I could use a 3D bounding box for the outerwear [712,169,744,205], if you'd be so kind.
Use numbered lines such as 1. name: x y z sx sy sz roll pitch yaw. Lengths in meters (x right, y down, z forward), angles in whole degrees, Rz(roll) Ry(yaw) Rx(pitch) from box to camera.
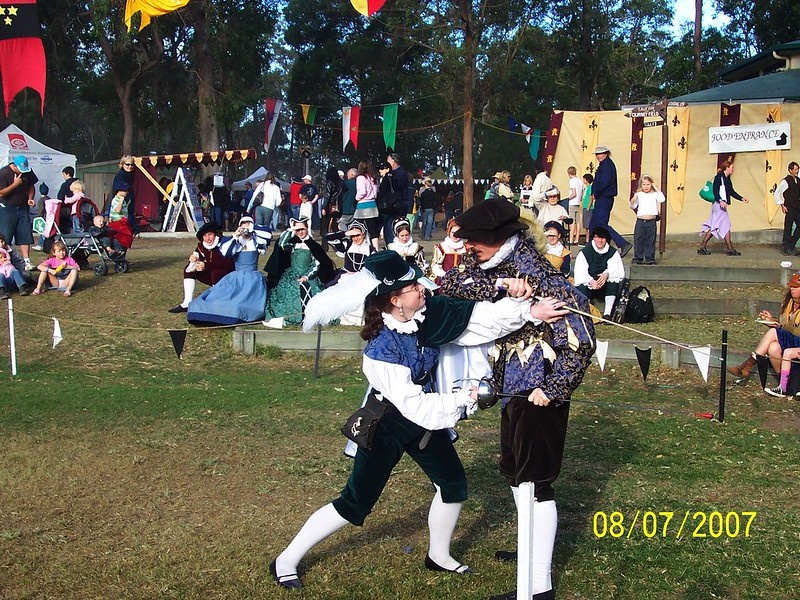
1. outerwear: 6.577 -2.309 19.222 0.674 0.856 0.656 -2 9 12

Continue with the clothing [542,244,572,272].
1. clothing: 2.111 -0.577 12.755 0.490 0.512 0.339 1 4 4

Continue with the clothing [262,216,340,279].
1. clothing: -1.701 -0.831 16.308 1.479 1.334 0.876 -4 -4 -10

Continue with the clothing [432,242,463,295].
1. clothing: 0.632 -0.490 15.210 0.713 0.805 0.533 -1 4 -7

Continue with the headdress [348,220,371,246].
1. headdress: -0.672 -1.133 15.706 0.287 0.431 0.424 -12 0 14

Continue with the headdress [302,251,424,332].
1. headdress: -0.339 -0.064 7.941 0.893 0.423 0.534 -30 21 -2

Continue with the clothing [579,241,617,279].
1. clothing: 3.140 -0.603 15.314 0.773 0.782 0.459 2 -3 5

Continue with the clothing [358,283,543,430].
1. clothing: 0.382 0.518 7.879 1.370 1.222 0.263 2 5 -3

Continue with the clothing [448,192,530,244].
1. clothing: 0.751 -0.663 7.861 0.419 0.171 0.438 6 31 30

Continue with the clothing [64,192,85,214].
1. clothing: -6.390 -1.922 18.477 0.287 0.373 0.125 -2 -1 -12

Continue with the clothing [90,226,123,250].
1. clothing: -5.534 -1.153 17.809 0.499 0.526 0.462 1 9 17

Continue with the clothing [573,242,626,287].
1. clothing: 3.244 -0.496 15.348 0.984 0.897 0.659 0 1 13

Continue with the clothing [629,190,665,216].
1. clothing: 4.490 -1.732 17.175 0.675 0.649 0.460 1 -8 12

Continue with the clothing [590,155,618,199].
1. clothing: 3.802 -2.220 17.425 0.598 0.961 1.015 0 6 11

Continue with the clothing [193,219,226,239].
1. clothing: -3.177 -1.231 15.838 0.352 0.136 0.407 -23 0 19

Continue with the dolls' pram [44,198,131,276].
1. dolls' pram: -5.836 -1.195 18.068 1.743 1.748 1.114 1 8 5

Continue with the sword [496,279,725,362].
1. sword: 2.545 0.273 11.060 2.084 0.314 0.100 26 -38 -3
